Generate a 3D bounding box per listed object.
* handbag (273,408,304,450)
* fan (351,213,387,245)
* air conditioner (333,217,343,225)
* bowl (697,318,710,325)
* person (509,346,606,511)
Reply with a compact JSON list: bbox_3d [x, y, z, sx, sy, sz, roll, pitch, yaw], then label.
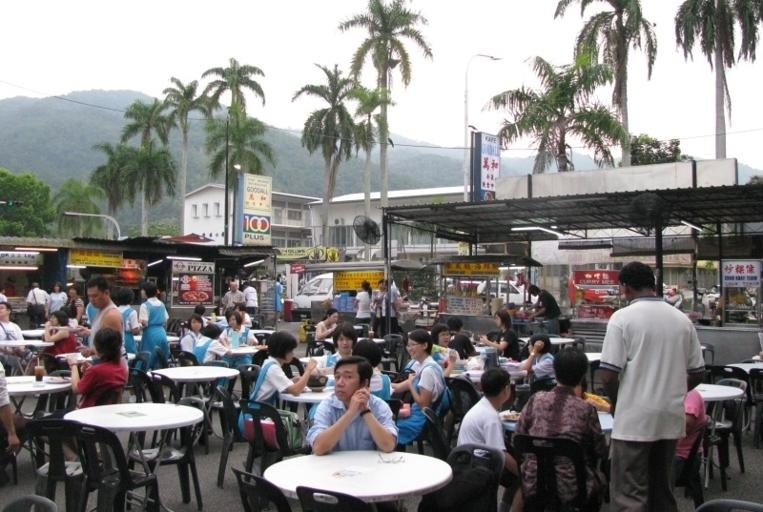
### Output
[{"bbox_3d":[-1.413,2.422,10.869,0.404,0.580,0.551,10,-8,20],"label":"handbag"},{"bbox_3d":[-0.433,-0.834,22.998,0.680,0.913,1.394,-1,-3,-2],"label":"fan"},{"bbox_3d":[-2.804,-2.341,50.974,0.437,0.472,0.439,-3,-25,2],"label":"air conditioner"},{"bbox_3d":[7.852,1.590,19.013,0.171,0.109,0.176,1,-3,0],"label":"bowl"},{"bbox_3d":[2.250,2.186,9.805,1.104,2.028,0.709,0,-2,-24],"label":"person"}]
